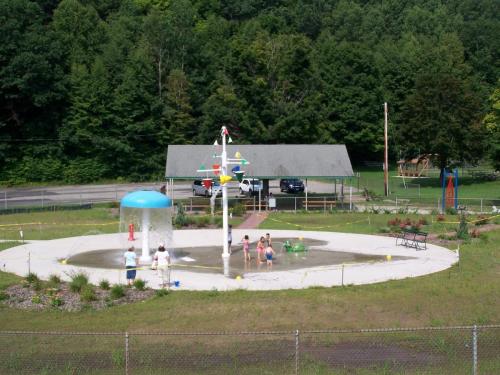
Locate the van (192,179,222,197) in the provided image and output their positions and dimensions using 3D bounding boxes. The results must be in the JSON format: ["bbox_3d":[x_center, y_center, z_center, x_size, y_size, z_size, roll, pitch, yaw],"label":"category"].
[{"bbox_3d":[-6.212,-0.081,142.345,2.201,1.760,3.605,0,0,-33],"label":"van"}]

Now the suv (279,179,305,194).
[{"bbox_3d":[5.834,-0.423,145.739,1.716,1.543,3.044,-1,-1,-19],"label":"suv"}]

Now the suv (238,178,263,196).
[{"bbox_3d":[0.064,-0.329,142.506,1.872,1.717,3.092,-3,0,-37],"label":"suv"}]

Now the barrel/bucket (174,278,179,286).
[{"bbox_3d":[-7.952,10.106,109.555,0.466,0.636,0.514,4,9,21],"label":"barrel/bucket"}]
